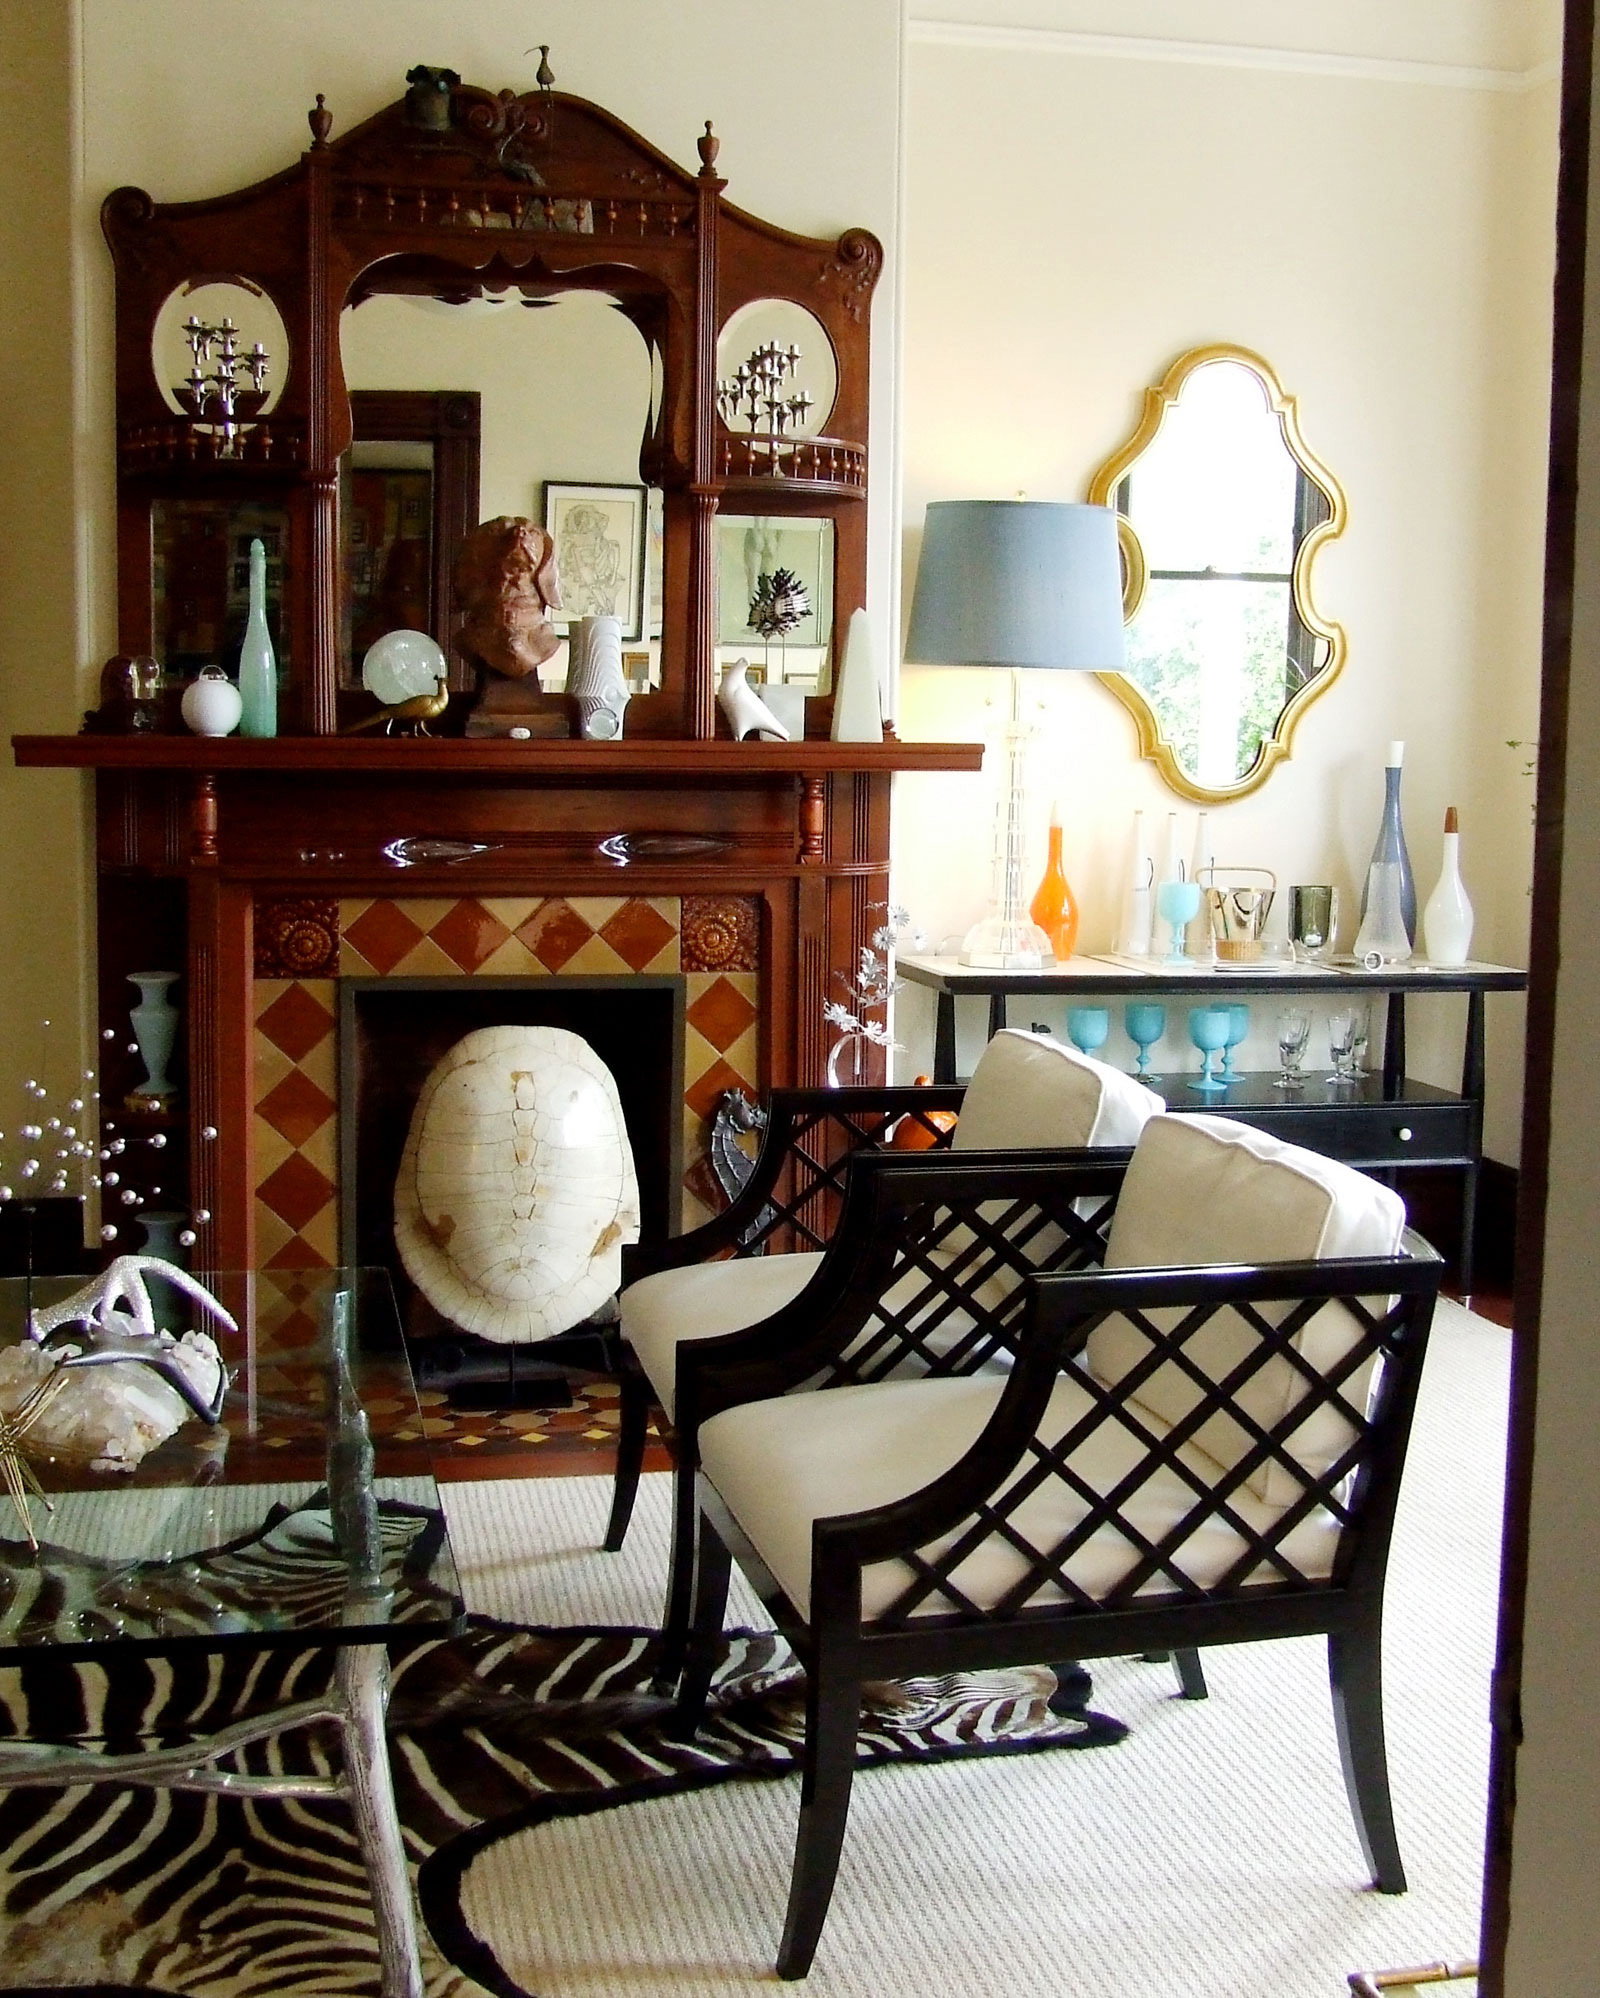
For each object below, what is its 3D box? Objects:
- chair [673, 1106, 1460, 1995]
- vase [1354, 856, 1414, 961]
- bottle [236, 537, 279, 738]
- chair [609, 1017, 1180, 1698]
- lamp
[{"bbox_3d":[0.242,0.518,2.162,0.879,0.876,0.784,0,3,-15],"label":"chair"},{"bbox_3d":[1.443,-0.210,4.343,0.116,0.260,0.108,3,6,13],"label":"vase"},{"bbox_3d":[-1.083,-0.719,3.521,0.076,0.415,0.264,0,6,-17],"label":"bottle"},{"bbox_3d":[-0.004,0.464,2.782,0.908,1.082,0.787,2,-2,-20],"label":"chair"},{"bbox_3d":[0.495,-0.612,4.109,0.491,1.052,0.479,3,6,8],"label":"lamp"}]
